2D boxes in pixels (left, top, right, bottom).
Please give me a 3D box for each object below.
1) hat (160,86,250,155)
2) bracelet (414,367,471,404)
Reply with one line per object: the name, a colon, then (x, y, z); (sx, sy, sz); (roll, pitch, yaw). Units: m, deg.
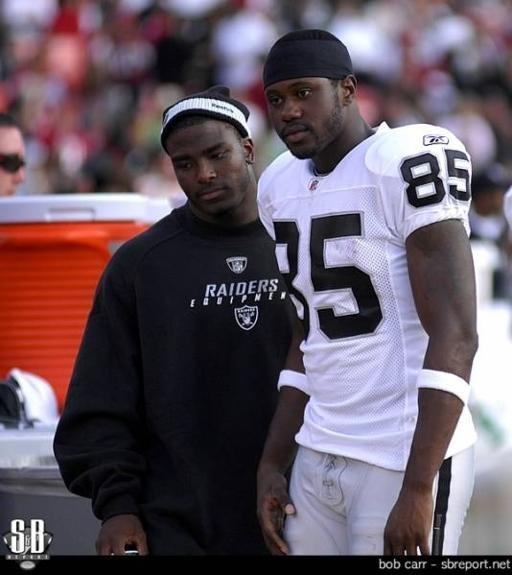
hat: (-0.136, -0.458, 2.862); (0.227, 0.116, 0.177); (-1, -12, -21)
bracelet: (0.405, 0.203, 2.204); (0.092, 0.036, 0.075); (13, -3, -1)
